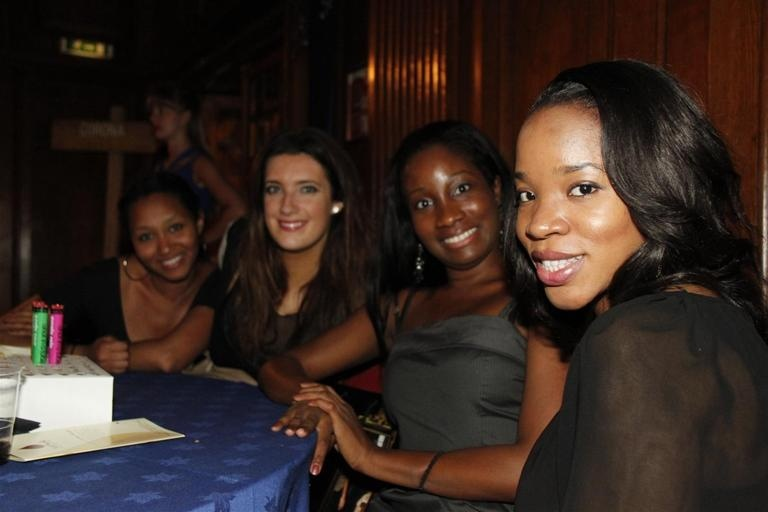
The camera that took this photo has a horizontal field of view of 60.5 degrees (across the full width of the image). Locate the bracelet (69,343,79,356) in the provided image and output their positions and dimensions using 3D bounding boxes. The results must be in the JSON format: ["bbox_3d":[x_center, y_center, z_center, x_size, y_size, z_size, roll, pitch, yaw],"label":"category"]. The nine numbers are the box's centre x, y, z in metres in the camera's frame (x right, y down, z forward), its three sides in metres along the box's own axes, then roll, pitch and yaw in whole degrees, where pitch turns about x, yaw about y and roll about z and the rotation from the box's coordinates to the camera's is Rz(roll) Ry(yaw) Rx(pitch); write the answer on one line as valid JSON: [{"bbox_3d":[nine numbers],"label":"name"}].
[{"bbox_3d":[-1.373,0.412,2.923,0.040,0.048,0.014,-4,-25,7],"label":"bracelet"}]

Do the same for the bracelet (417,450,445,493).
[{"bbox_3d":[0.140,0.686,2.097,0.029,0.103,0.099,26,-43,-11],"label":"bracelet"}]

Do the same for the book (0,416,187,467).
[{"bbox_3d":[-0.827,0.516,1.870,0.412,0.024,0.231,0,4,-42],"label":"book"}]

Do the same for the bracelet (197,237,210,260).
[{"bbox_3d":[-0.966,-0.040,3.519,0.075,0.069,0.276,27,-8,-9],"label":"bracelet"}]
